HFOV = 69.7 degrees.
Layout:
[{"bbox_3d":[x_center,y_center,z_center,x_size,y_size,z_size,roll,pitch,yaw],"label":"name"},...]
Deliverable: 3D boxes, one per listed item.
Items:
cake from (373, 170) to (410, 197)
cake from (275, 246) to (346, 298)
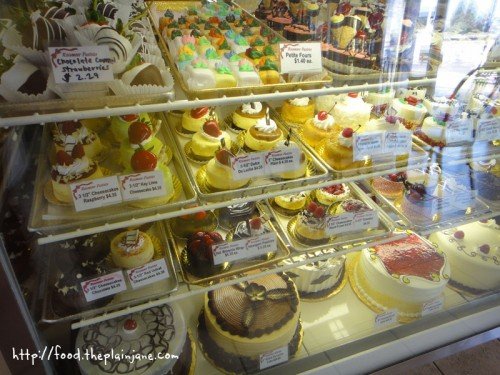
[{"bbox_3d":[0.924,-0.020,2.393,0.221,0.130,0.200,-5,21,-9],"label":"cake"},{"bbox_3d":[0.431,0.522,2.321,0.446,0.145,0.403,-10,31,-10],"label":"cake"}]
